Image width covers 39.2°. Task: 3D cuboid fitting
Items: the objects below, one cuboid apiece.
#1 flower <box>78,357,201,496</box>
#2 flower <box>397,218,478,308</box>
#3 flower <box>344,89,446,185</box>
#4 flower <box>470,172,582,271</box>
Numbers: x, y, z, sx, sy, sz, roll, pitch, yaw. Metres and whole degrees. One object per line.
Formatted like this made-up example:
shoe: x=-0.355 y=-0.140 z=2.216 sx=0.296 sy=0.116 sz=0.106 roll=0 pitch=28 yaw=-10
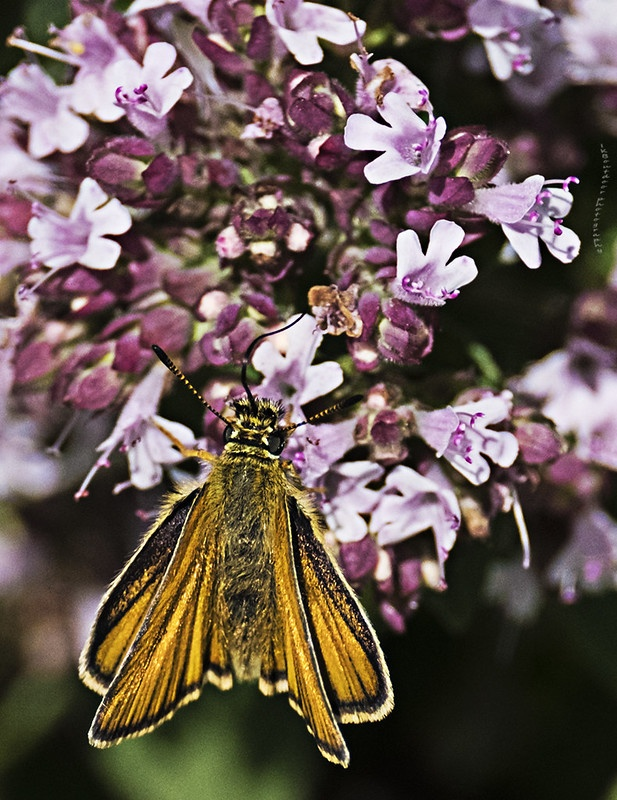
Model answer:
flower: x=-0.379 y=0.081 z=2.157 sx=0.183 sy=0.277 sz=0.257 roll=32 pitch=59 yaw=22
flower: x=0.277 y=-0.298 z=1.927 sx=0.179 sy=0.172 sz=0.144 roll=0 pitch=53 yaw=0
flower: x=0.187 y=-0.560 z=1.914 sx=0.212 sy=0.177 sz=0.173 roll=-5 pitch=52 yaw=-4
flower: x=0.527 y=-0.431 z=1.970 sx=0.232 sy=0.185 sz=0.202 roll=-30 pitch=58 yaw=-22
